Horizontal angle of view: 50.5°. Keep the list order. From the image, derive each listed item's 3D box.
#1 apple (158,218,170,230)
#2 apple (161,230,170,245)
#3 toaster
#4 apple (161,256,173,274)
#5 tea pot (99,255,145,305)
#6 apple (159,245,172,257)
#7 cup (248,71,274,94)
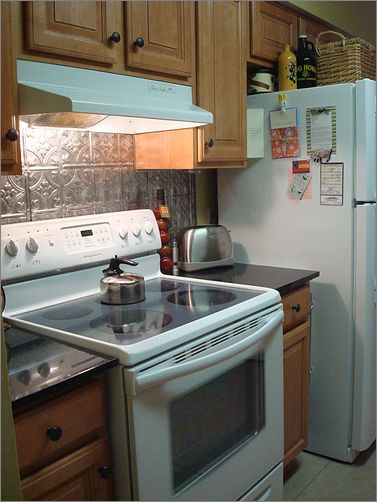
[{"bbox_3d":[-0.113,-0.117,1.805,0.048,0.044,0.047,-9,15,-31],"label":"apple"},{"bbox_3d":[-0.105,-0.058,1.796,0.052,0.062,0.052,-5,13,8],"label":"apple"},{"bbox_3d":[0.078,-0.015,1.882,0.284,0.198,0.152,-5,7,-31],"label":"toaster"},{"bbox_3d":[-0.100,0.063,1.817,0.048,0.065,0.048,-21,12,23],"label":"apple"},{"bbox_3d":[-0.219,0.097,1.331,0.137,0.140,0.135,-1,13,0],"label":"tea pot"},{"bbox_3d":[-0.108,-0.001,1.822,0.051,0.061,0.050,0,12,-26],"label":"apple"},{"bbox_3d":[0.352,-0.818,1.947,0.102,0.075,0.103,-2,15,0],"label":"cup"}]
